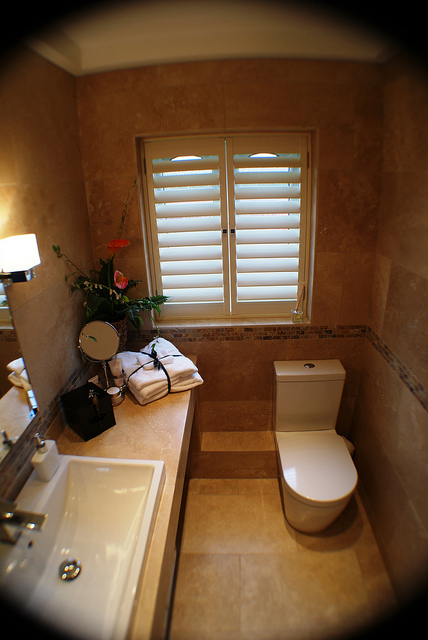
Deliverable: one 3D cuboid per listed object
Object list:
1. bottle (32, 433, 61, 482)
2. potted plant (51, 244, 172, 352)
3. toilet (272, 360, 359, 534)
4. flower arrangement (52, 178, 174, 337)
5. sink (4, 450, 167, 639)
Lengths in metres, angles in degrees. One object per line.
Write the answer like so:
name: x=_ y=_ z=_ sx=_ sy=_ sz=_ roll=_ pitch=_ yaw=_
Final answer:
bottle: x=-0.550 y=0.454 z=1.332 sx=0.041 sy=0.148 sz=0.102 roll=-1 pitch=27 yaw=5
potted plant: x=-0.478 y=-0.097 z=1.882 sx=0.260 sy=0.594 sz=0.557 roll=8 pitch=23 yaw=25
toilet: x=0.505 y=0.665 z=2.070 sx=0.338 sy=0.719 sz=0.637 roll=-1 pitch=25 yaw=0
flower arrangement: x=-0.488 y=-0.239 z=1.912 sx=0.473 sy=0.760 sz=0.405 roll=1 pitch=8 yaw=-26
sink: x=-0.395 y=0.597 z=1.180 sx=0.421 sy=0.185 sz=0.577 roll=-1 pitch=21 yaw=3
